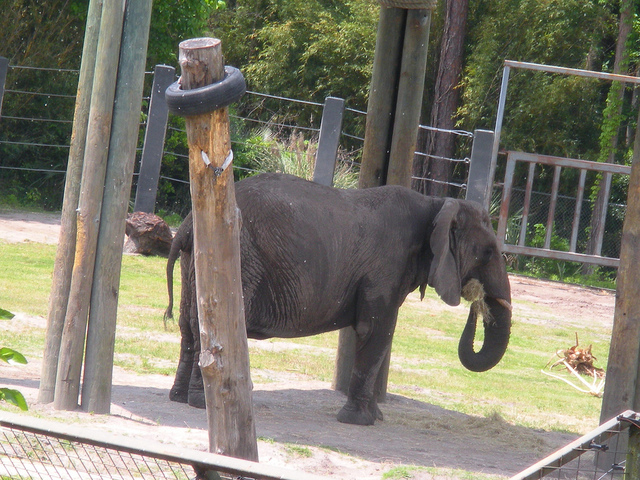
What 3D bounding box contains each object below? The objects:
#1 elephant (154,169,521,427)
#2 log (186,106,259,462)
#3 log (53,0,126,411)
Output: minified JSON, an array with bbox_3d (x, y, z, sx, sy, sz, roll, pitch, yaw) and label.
[{"bbox_3d":[0.351,0.679,17.108,4.334,3.238,1.957,7,14,-10],"label":"elephant"},{"bbox_3d":[-1.031,0.451,14.579,1.130,3.671,0.486,16,16,39],"label":"log"},{"bbox_3d":[-2.678,-0.413,15.763,0.436,4.637,1.031,5,12,-5],"label":"log"}]
